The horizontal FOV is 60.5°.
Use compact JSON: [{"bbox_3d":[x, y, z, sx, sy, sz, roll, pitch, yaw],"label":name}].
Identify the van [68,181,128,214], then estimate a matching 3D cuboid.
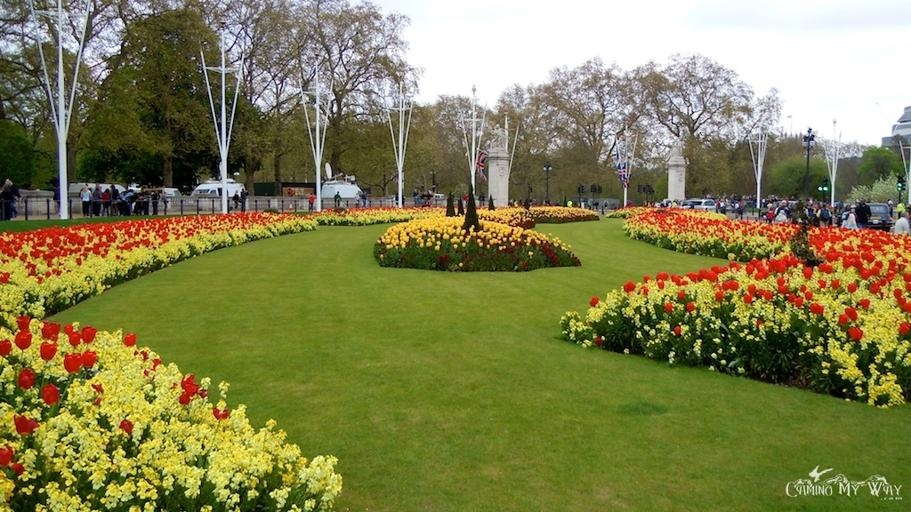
[{"bbox_3d":[-17.125,-2.715,37.171,2.834,1.186,2.800,-1,0,27],"label":"van"}]
